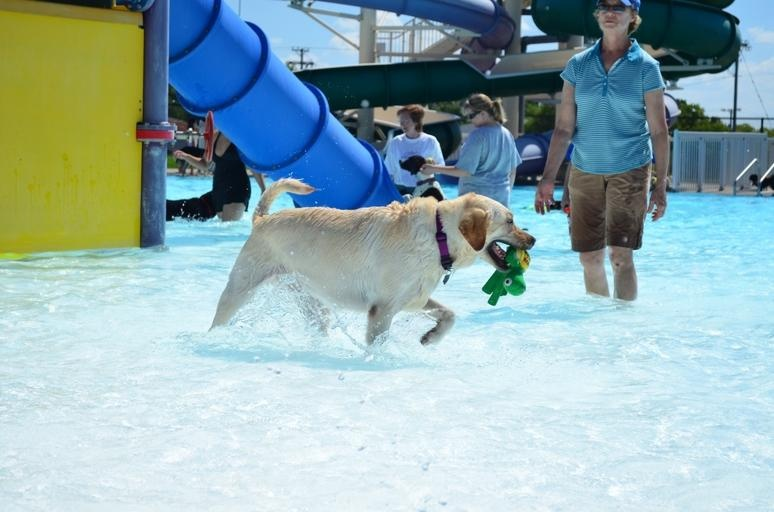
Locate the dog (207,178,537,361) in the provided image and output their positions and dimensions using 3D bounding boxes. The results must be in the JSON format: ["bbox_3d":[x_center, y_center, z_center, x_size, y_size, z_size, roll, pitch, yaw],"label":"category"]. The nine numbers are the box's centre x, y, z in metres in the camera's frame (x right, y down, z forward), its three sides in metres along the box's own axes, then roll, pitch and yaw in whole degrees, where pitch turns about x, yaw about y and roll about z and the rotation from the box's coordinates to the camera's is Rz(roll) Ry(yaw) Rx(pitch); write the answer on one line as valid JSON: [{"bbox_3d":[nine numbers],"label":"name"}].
[{"bbox_3d":[-0.237,0.074,6.233,2.808,1.289,0.756,0,10,15],"label":"dog"}]

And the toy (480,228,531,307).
[{"bbox_3d":[0.981,0.070,6.301,0.486,0.574,0.415,-3,34,5],"label":"toy"}]

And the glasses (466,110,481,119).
[{"bbox_3d":[0.919,-1.531,8.251,0.124,0.034,0.116,-4,5,-6],"label":"glasses"}]
